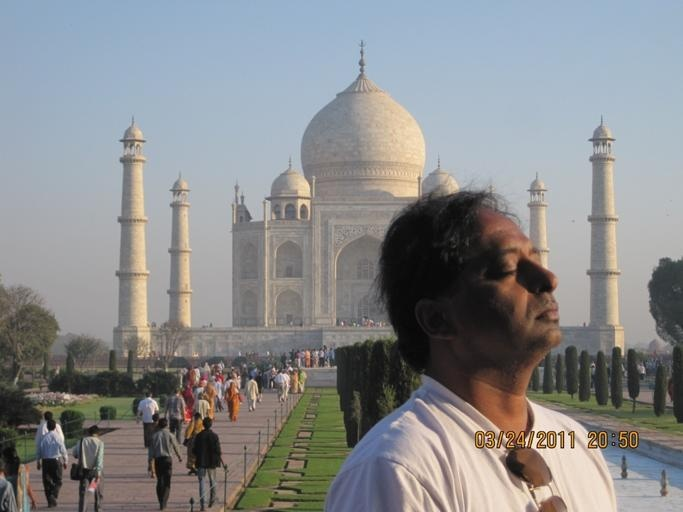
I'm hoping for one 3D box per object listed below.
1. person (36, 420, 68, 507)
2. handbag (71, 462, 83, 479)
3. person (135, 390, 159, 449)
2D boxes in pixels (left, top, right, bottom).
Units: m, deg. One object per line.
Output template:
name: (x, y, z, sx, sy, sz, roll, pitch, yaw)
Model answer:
person: (-6.018, 4.289, 35.217, 0.619, 1.859, 0.566, -11, 3, -13)
handbag: (-5.490, 4.466, 34.841, 0.207, 0.355, 0.427, -11, 3, -24)
person: (-4.452, 3.788, 39.055, 0.509, 1.284, 0.436, 0, -4, -11)
